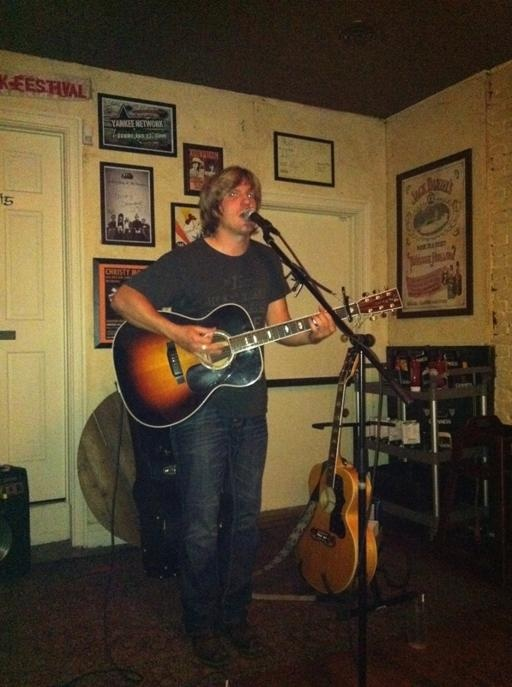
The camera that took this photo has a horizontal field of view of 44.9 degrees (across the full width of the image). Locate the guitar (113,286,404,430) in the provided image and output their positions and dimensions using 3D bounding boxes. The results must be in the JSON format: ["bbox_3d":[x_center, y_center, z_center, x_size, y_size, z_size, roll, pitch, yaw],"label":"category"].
[{"bbox_3d":[-0.023,0.027,2.339,1.103,0.431,0.167,-13,-2,9],"label":"guitar"}]

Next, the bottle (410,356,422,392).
[{"bbox_3d":[0.841,0.161,3.288,0.055,0.173,0.152,0,3,12],"label":"bottle"}]

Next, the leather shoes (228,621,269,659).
[{"bbox_3d":[-0.037,1.031,2.215,0.134,0.080,0.223,-1,3,-7],"label":"leather shoes"}]

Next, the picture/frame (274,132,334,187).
[{"bbox_3d":[0.271,-1.123,3.774,0.406,0.263,0.014,-3,4,-31],"label":"picture/frame"}]

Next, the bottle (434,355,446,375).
[{"bbox_3d":[0.974,0.113,3.275,0.051,0.088,0.023,-1,-7,39],"label":"bottle"}]

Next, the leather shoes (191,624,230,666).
[{"bbox_3d":[-0.154,1.028,2.135,0.113,0.093,0.164,-1,3,-18],"label":"leather shoes"}]

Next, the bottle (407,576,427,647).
[{"bbox_3d":[0.578,0.978,2.229,0.056,0.186,0.116,0,3,16],"label":"bottle"}]

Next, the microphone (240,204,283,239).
[{"bbox_3d":[0.020,-0.409,2.084,0.064,0.060,0.211,6,20,-26],"label":"microphone"}]

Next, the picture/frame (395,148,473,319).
[{"bbox_3d":[1.056,-0.629,3.717,0.046,0.923,0.639,-2,3,-26],"label":"picture/frame"}]

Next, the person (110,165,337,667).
[{"bbox_3d":[-0.138,0.231,2.238,0.789,1.677,0.456,0,6,-14],"label":"person"}]
